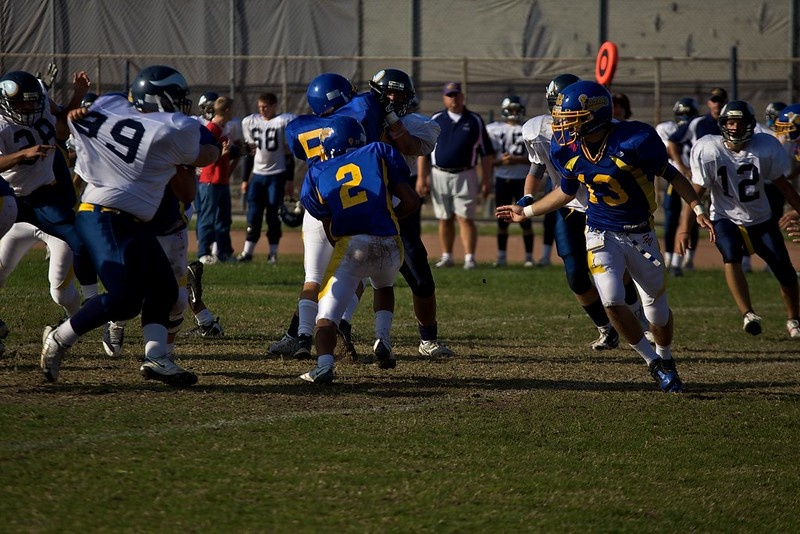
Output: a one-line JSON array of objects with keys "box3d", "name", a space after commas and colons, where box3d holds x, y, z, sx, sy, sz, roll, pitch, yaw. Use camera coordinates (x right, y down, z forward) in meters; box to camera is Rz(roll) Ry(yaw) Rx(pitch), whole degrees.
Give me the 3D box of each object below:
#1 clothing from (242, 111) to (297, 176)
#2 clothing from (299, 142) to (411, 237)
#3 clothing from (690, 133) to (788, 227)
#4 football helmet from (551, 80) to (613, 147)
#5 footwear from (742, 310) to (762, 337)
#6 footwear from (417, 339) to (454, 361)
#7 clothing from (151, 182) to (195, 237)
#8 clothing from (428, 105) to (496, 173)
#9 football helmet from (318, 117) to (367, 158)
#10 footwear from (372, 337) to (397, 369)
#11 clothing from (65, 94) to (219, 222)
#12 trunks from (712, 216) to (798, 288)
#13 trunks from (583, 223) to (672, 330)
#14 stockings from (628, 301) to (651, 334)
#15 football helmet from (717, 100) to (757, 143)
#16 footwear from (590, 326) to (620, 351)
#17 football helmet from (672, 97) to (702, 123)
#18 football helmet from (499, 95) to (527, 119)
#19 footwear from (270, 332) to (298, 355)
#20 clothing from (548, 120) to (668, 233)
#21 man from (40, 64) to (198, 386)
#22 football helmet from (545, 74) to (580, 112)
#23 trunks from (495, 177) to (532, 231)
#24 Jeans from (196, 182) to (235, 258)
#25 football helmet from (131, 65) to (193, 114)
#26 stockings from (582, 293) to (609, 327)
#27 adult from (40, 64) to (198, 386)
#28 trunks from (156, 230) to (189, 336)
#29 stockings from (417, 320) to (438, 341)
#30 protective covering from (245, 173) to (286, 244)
[{"box3d": [-1.888, -1.572, 16.715, 0.957, 0.874, 0.517, -4, 8, -33], "name": "clothing"}, {"box3d": [-0.380, -0.673, 10.807, 0.671, 0.599, 0.362, -22, 13, 7], "name": "clothing"}, {"box3d": [3.406, -0.887, 12.618, 1.066, 0.939, 0.566, -1, 6, 6], "name": "clothing"}, {"box3d": [1.625, -1.378, 10.999, 0.674, 0.546, 0.508, -10, 14, -14], "name": "football helmet"}, {"box3d": [3.549, 0.620, 12.596, 0.134, 0.144, 0.322, -11, -35, 9], "name": "footwear"}, {"box3d": [0.339, 0.789, 11.894, 0.284, 0.123, 0.156, 2, 13, 6], "name": "footwear"}, {"box3d": [-2.014, -0.504, 10.962, 0.238, 0.295, 0.423, -6, 9, 1], "name": "clothing"}, {"box3d": [0.764, -1.696, 16.631, 1.077, 0.802, 0.470, 1, 2, 4], "name": "clothing"}, {"box3d": [-0.609, -1.157, 11.140, 0.403, 0.424, 0.479, -12, 10, -40], "name": "football helmet"}, {"box3d": [-0.144, 0.789, 11.177, 0.139, 0.330, 0.155, -9, 22, 10], "name": "footwear"}, {"box3d": [-2.153, -0.967, 10.897, 1.369, 0.976, 1.180, 5, 18, -12], "name": "clothing"}, {"box3d": [3.610, -0.099, 12.726, 0.788, 0.751, 0.277, -1, -5, 20], "name": "trunks"}, {"box3d": [2.019, 0.104, 11.109, 0.570, 0.948, 0.358, -5, 11, 5], "name": "trunks"}, {"box3d": [2.186, 0.458, 11.467, 0.140, 0.182, 0.412, -32, 27, 13], "name": "stockings"}, {"box3d": [3.416, -1.422, 12.717, 0.380, 0.434, 0.487, -4, -12, 18], "name": "football helmet"}, {"box3d": [2.006, 0.719, 12.307, 0.139, 0.181, 0.416, -1, -3, 34], "name": "footwear"}, {"box3d": [3.826, -2.095, 16.681, 0.443, 0.403, 0.349, 3, 10, 20], "name": "football helmet"}, {"box3d": [1.584, -2.239, 17.466, 0.286, 0.293, 0.371, -1, 1, -5], "name": "football helmet"}, {"box3d": [-1.013, 0.748, 11.752, 0.411, 0.184, 0.144, 0, 2, 13], "name": "footwear"}, {"box3d": [1.881, -0.827, 11.104, 1.197, 0.974, 0.638, -1, 13, 34], "name": "clothing"}, {"box3d": [-2.353, -0.338, 10.784, 1.435, 2.610, 1.114, 2, -2, -18], "name": "man"}, {"box3d": [1.571, -1.627, 11.720, 0.378, 0.344, 0.299, 8, 34, 18], "name": "football helmet"}, {"box3d": [1.464, -0.914, 17.150, 0.373, 0.748, 0.250, -9, 16, -21], "name": "trunks"}, {"box3d": [-2.355, -0.599, 16.018, 0.326, 1.057, 0.492, -3, -2, 28], "name": "Jeans"}, {"box3d": [-2.014, -1.536, 10.653, 0.487, 0.371, 0.361, -12, 28, -25], "name": "football helmet"}, {"box3d": [1.969, 0.433, 12.262, 0.123, 0.260, 0.270, -14, 3, -13], "name": "stockings"}, {"box3d": [-2.351, -0.352, 10.789, 1.438, 2.637, 1.122, 2, -1, -22], "name": "adult"}, {"box3d": [-1.952, 0.085, 11.042, 0.278, 0.729, 0.560, -6, -11, 13], "name": "trunks"}, {"box3d": [0.266, 0.622, 11.910, 0.210, 0.197, 0.166, -1, 2, 20], "name": "stockings"}, {"box3d": [-1.774, -0.744, 16.707, 0.524, 1.195, 0.318, -1, -18, 6], "name": "protective covering"}]
